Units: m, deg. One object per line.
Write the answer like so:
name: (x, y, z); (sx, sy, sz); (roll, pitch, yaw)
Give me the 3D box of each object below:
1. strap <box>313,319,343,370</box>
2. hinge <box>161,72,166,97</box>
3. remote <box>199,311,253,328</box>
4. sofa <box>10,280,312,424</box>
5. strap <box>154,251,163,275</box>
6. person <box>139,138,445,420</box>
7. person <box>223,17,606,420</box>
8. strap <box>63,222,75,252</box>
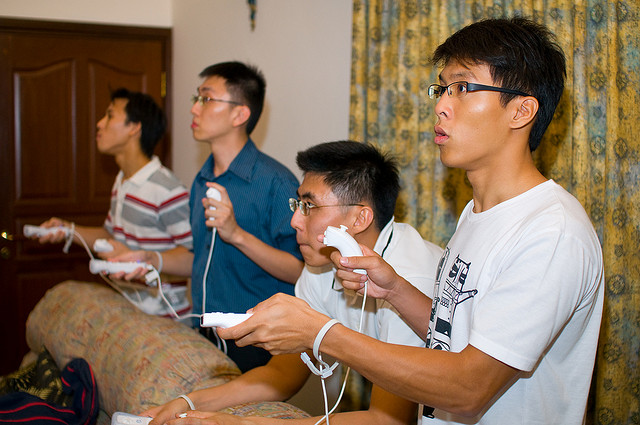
strap: (0.010, 0.414, 1.705); (0.031, 0.141, 0.141); (7, 31, 8)
hinge: (-1.327, -1.095, 4.507); (0.039, 0.198, 0.010); (1, 6, 0)
remote: (-0.321, 0.356, 1.773); (0.098, 0.034, 0.103); (1, -6, -25)
sofa: (-0.936, 0.710, 2.592); (1.381, 0.554, 0.401); (6, 7, 40)
strap: (-0.845, 0.271, 2.805); (0.028, 0.116, 0.075); (-1, 6, -18)
person: (-0.088, 0.293, 2.408); (1.329, 1.166, 0.873); (5, -9, -22)
person: (0.351, -0.008, 2.571); (1.308, 2.053, 1.126); (3, 3, 6)
strap: (-1.439, 0.143, 3.052); (0.054, 0.173, 0.245); (-2, 6, -25)
